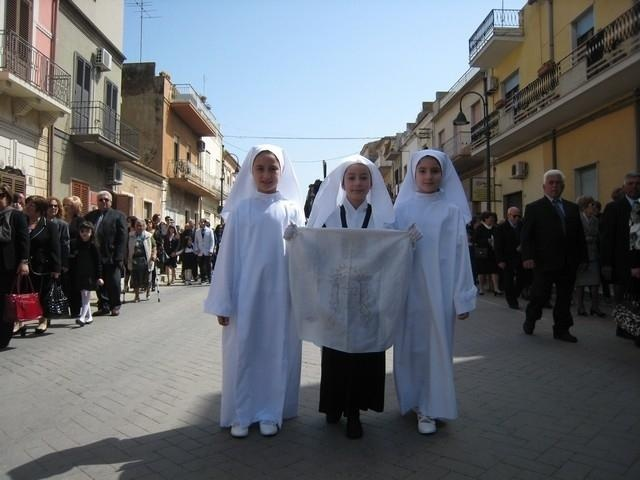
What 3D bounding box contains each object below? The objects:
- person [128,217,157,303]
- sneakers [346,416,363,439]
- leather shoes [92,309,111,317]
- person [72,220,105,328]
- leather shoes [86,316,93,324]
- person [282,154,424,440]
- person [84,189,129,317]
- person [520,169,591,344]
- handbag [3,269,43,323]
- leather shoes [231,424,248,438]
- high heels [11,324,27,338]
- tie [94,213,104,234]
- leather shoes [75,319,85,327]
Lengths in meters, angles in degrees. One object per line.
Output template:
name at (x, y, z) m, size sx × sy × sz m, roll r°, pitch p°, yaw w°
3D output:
person at (-4.261, 0.526, 14.084) m, size 0.646 × 1.976 × 0.994 m, roll -4°, pitch 10°, yaw -18°
sneakers at (0.353, 1.953, 6.191) m, size 0.172 × 0.187 × 0.178 m, roll 0°, pitch 10°, yaw 2°
leather shoes at (-4.416, 1.466, 11.964) m, size 0.393 × 0.162 × 0.136 m, roll 4°, pitch -8°, yaw -11°
person at (-4.337, 0.620, 10.984) m, size 0.484 × 1.850 × 0.812 m, roll -4°, pitch 11°, yaw -21°
leather shoes at (-4.325, 1.504, 11.047) m, size 0.092 × 0.042 × 0.149 m, roll -1°, pitch 6°, yaw -6°
person at (0.313, 0.570, 6.346) m, size 1.349 × 2.879 × 0.902 m, roll 1°, pitch 10°, yaw 8°
person at (-4.388, 0.260, 11.805) m, size 0.893 × 2.497 × 0.864 m, roll -2°, pitch -3°, yaw -7°
person at (3.761, 0.258, 9.427) m, size 0.994 × 2.675 × 0.870 m, roll 0°, pitch 2°, yaw 20°
handbag at (-4.568, 0.848, 9.076) m, size 0.466 × 0.634 × 0.853 m, roll -5°, pitch 11°, yaw -24°
leather shoes at (-0.849, 1.996, 6.225) m, size 0.188 × 0.108 × 0.151 m, roll -2°, pitch 10°, yaw -11°
high heels at (-5.131, 1.488, 10.046) m, size 0.191 × 0.155 × 0.424 m, roll -21°, pitch 12°, yaw -22°
tie at (-4.417, -0.337, 11.759) m, size 0.057 × 0.267 × 0.259 m, roll 11°, pitch 10°, yaw -10°
leather shoes at (-4.355, 1.492, 10.691) m, size 0.135 × 0.130 × 0.159 m, roll -3°, pitch 11°, yaw -15°
